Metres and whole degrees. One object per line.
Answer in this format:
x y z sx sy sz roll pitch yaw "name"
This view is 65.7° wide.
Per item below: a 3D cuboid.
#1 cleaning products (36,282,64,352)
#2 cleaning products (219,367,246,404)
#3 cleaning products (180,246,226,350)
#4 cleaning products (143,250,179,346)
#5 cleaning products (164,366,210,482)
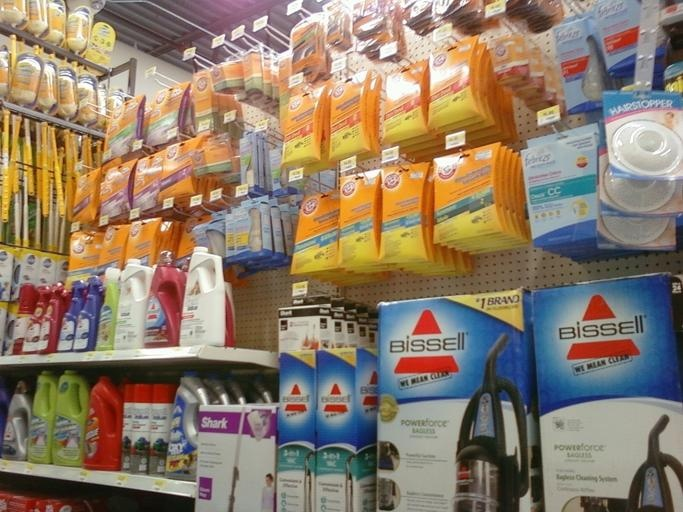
-1.644 0.355 2.983 0.161 0.392 0.078 -4 -15 17 "cleaning products"
-0.538 0.652 2.603 0.077 0.062 0.283 6 27 -31 "cleaning products"
-0.656 0.200 2.495 0.210 0.453 0.107 -7 -16 26 "cleaning products"
-0.873 0.244 2.613 0.216 0.418 0.096 -9 -17 33 "cleaning products"
-0.708 0.782 2.457 0.193 0.471 0.098 -8 -17 30 "cleaning products"
